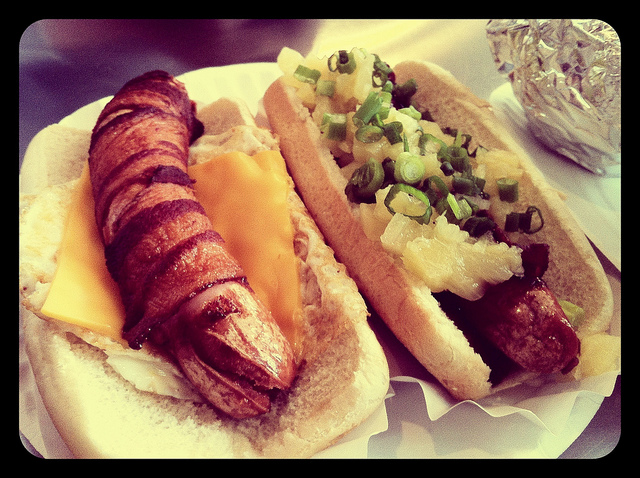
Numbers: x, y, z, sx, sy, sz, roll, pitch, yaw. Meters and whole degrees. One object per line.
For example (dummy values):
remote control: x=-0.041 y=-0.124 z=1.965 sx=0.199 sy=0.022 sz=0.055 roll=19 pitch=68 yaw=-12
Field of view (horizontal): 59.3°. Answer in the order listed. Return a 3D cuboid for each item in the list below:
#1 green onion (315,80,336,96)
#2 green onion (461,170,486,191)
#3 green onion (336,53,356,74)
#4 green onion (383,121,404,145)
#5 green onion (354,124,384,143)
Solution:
green onion: x=0.031 y=-0.836 z=3.105 sx=0.085 sy=0.073 sz=0.094 roll=6 pitch=13 yaw=-16
green onion: x=0.845 y=-0.322 z=3.051 sx=0.108 sy=0.026 sz=0.104 roll=33 pitch=31 yaw=-17
green onion: x=0.130 y=-0.938 z=3.012 sx=0.101 sy=0.091 sz=0.101 roll=6 pitch=15 yaw=29
green onion: x=0.380 y=-0.553 z=2.921 sx=0.104 sy=0.106 sz=0.032 roll=-18 pitch=2 yaw=21
green onion: x=0.266 y=-0.557 z=2.955 sx=0.103 sy=0.110 sz=0.037 roll=-23 pitch=10 yaw=1
